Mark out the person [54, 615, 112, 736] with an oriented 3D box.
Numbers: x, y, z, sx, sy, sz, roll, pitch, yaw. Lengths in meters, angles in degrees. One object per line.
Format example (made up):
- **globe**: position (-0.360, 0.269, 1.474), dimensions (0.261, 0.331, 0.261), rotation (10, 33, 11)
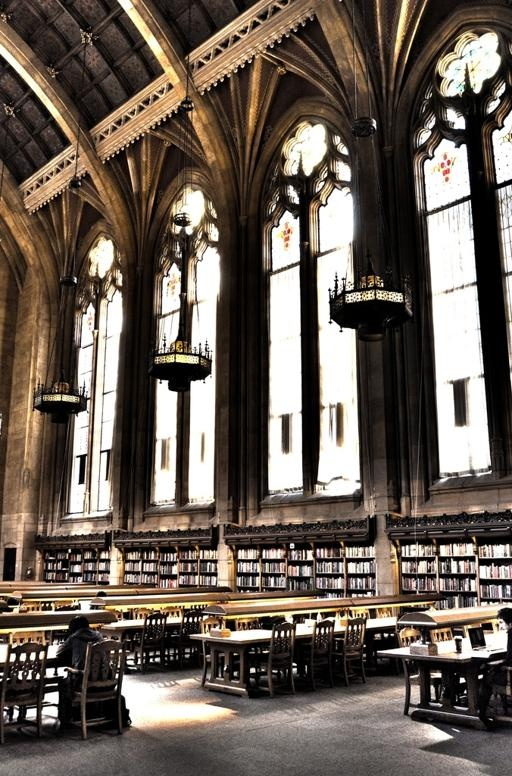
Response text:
- **person**: position (-1.617, 2.562, 5.828), dimensions (0.330, 0.953, 0.748), rotation (7, -10, -41)
